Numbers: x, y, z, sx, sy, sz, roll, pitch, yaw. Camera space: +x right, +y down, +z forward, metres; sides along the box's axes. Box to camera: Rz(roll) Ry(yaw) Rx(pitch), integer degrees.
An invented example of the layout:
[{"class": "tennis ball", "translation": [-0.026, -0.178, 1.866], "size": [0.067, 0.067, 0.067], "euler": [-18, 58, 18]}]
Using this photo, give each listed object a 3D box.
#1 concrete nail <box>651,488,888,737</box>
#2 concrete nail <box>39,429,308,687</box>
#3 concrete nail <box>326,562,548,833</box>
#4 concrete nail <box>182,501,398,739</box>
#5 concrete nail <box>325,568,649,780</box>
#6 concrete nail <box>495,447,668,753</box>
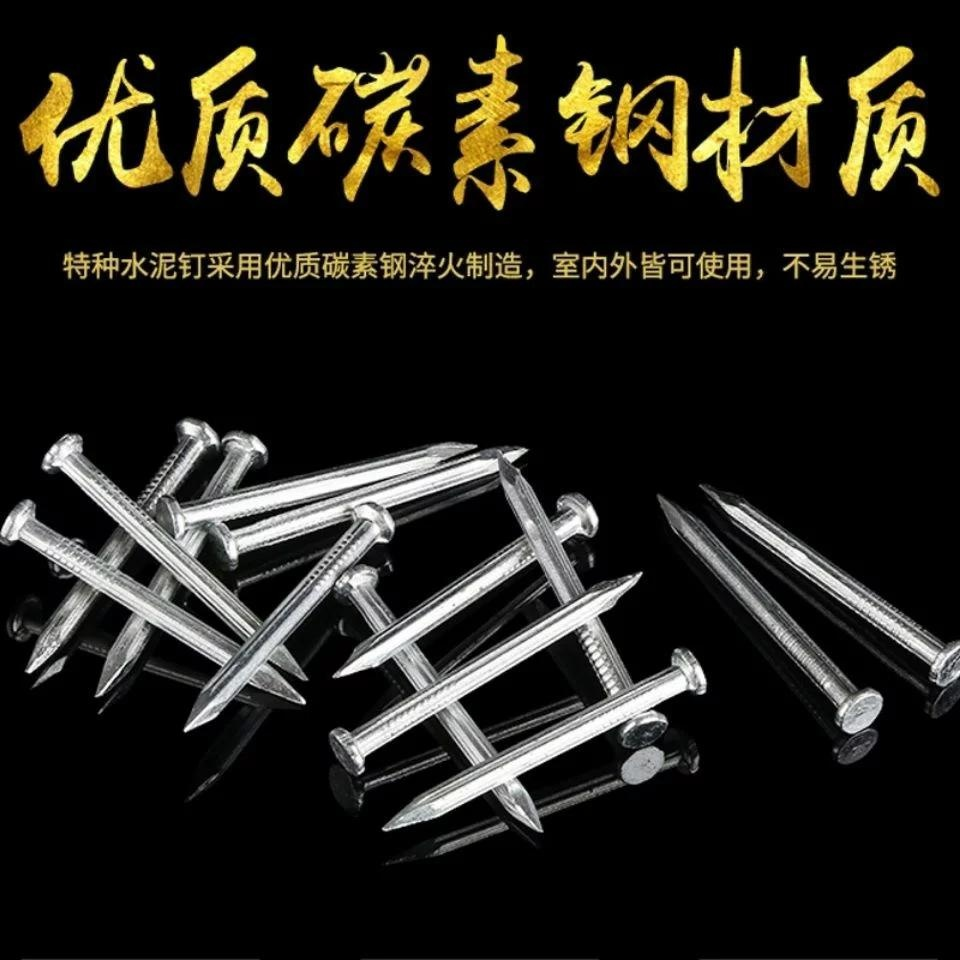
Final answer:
[{"class": "concrete nail", "translation": [0.881, 0.402, 3.468], "size": [0.141, 0.176, 0.902], "euler": [-7, 37, -28]}, {"class": "concrete nail", "translation": [-0.912, 0.289, 3.611], "size": [0.131, 0.135, 0.874], "euler": [-28, 65, -27]}, {"class": "concrete nail", "translation": [-0.115, 0.572, 3.093], "size": [0.133, 0.139, 0.904], "euler": [-12, 56, -38]}, {"class": "concrete nail", "translation": [-0.568, 0.387, 3.479], "size": [0.124, 0.127, 0.736], "euler": [37, 52, -4]}, {"class": "concrete nail", "translation": [0.011, 0.528, 3.148], "size": [0.942, 0.167, 0.154], "euler": [-32, 53, -8]}, {"class": "concrete nail", "translation": [0.237, 0.426, 3.258], "size": [0.111, 0.122, 0.840], "euler": [-11, 72, -42]}]
